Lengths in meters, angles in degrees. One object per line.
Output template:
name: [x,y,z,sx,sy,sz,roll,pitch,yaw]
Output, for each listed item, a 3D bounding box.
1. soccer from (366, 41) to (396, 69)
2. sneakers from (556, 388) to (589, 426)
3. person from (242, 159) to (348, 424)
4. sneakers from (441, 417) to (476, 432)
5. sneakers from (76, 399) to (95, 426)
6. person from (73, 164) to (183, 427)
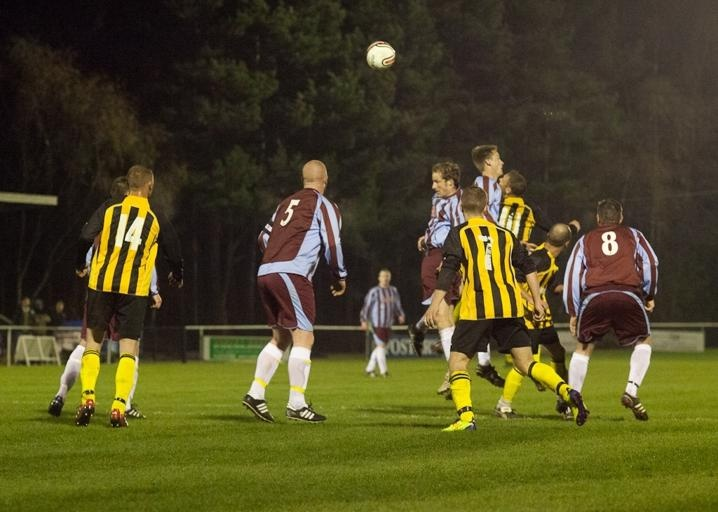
soccer: [0.473,-4.432,24.266,0.724,0.774,0.548,3,-4,-6]
sneakers: [3.235,2.327,16.543,0.199,0.554,0.260,-36,19,-27]
person: [-0.986,0.538,16.804,1.404,4.010,0.728,1,3,-2]
sneakers: [1.492,2.525,16.238,0.547,0.262,0.204,-1,-7,5]
sneakers: [-4.161,2.372,16.453,0.245,0.391,0.287,0,3,-20]
person: [-3.550,0.612,16.521,1.411,3.927,0.681,0,3,-16]
